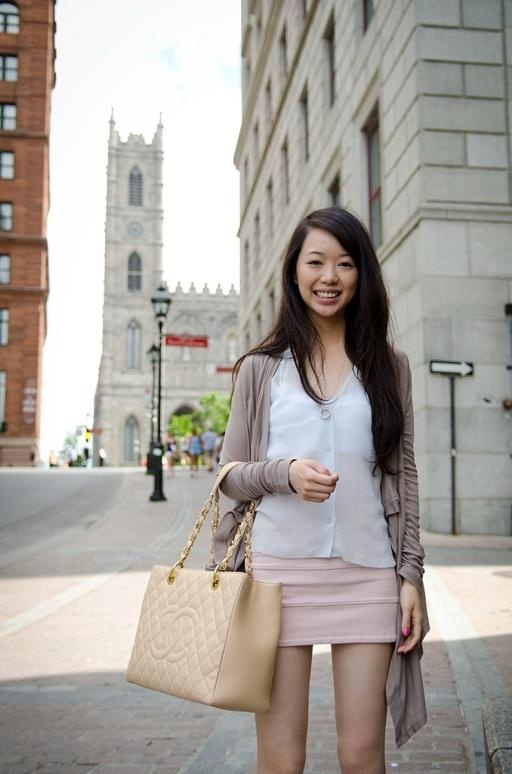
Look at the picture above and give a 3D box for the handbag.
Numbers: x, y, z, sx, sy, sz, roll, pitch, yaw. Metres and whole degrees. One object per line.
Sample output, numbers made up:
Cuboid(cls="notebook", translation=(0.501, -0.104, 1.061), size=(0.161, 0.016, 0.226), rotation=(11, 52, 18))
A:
Cuboid(cls="handbag", translation=(-0.142, 0.598, 1.762), size=(0.446, 0.318, 0.182), rotation=(-4, -5, 44))
